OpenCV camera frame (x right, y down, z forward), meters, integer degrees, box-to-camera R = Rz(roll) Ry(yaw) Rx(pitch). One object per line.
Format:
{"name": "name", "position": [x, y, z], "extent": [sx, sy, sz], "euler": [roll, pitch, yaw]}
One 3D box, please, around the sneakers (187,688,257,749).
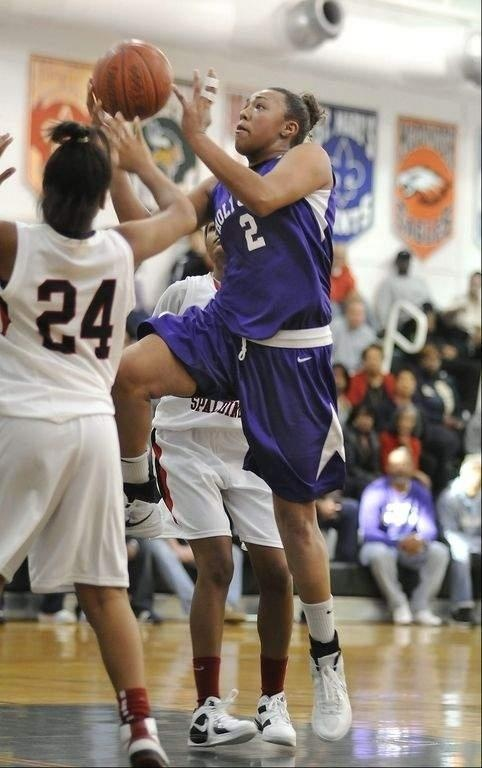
{"name": "sneakers", "position": [-0.047, 0.824, 1.984], "extent": [0.075, 0.115, 0.207], "euler": [13, -23, -37]}

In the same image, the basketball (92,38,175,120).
{"name": "basketball", "position": [-0.252, -0.707, 1.911], "extent": [0.186, 0.200, 0.126], "euler": [-2, 6, -7]}

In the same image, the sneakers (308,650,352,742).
{"name": "sneakers", "position": [0.196, 0.742, 1.958], "extent": [0.082, 0.095, 0.232], "euler": [-7, 29, 3]}
